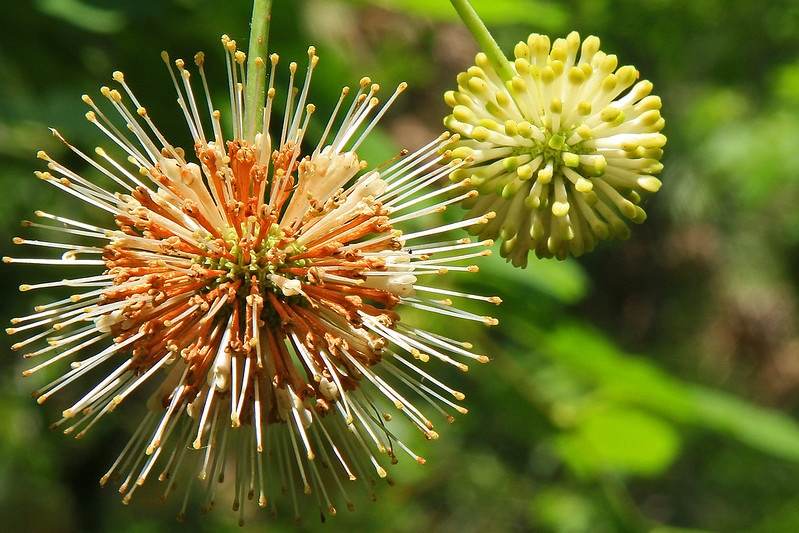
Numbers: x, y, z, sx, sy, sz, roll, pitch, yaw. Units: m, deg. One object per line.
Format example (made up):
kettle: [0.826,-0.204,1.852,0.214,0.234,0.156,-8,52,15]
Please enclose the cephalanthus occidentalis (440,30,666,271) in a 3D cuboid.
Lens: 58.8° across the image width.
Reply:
cephalanthus occidentalis: [0.812,-0.556,3.894,1.117,1.151,1.207,8,-17,7]
